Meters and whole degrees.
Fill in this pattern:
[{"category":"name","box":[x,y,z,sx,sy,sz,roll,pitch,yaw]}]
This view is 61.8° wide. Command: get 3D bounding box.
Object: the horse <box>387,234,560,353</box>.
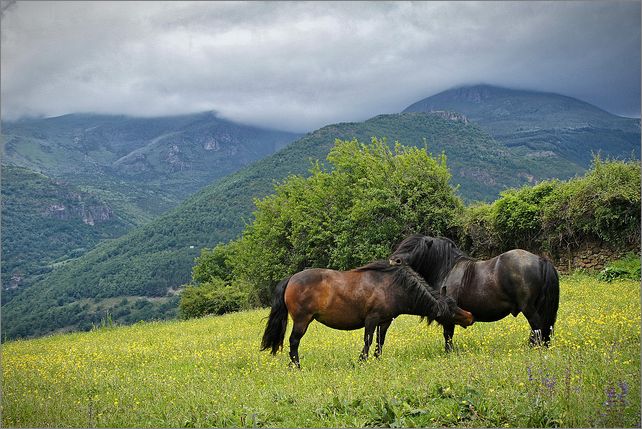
[{"category":"horse","box":[6.224,3.450,22.109,4.735,3.118,1.582,4,16,27]}]
